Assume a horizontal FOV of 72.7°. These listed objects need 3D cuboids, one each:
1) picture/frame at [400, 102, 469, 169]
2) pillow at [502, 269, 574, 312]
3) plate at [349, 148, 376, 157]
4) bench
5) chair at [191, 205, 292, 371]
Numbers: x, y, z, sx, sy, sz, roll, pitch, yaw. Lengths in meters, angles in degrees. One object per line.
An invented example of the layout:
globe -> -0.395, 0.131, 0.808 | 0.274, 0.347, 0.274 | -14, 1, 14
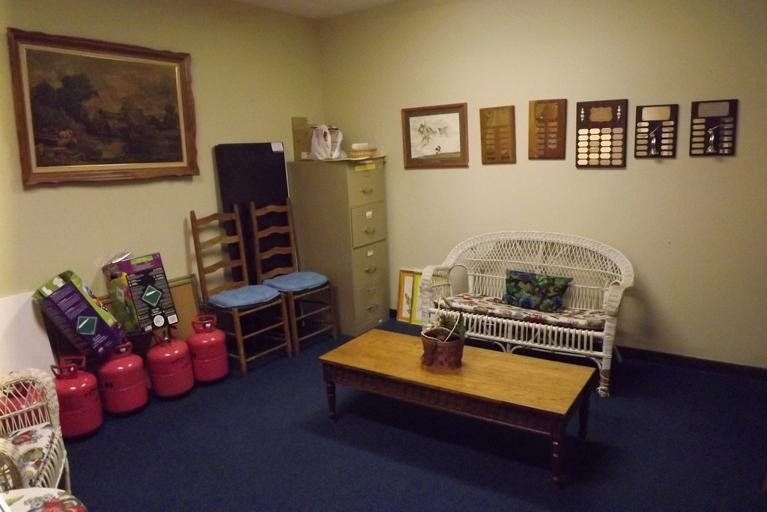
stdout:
picture/frame -> 0.556, -1.247, 5.320 | 0.707, 0.624, 0.056 | 2, 7, 26
pillow -> 1.375, 0.318, 4.723 | 0.579, 0.345, 0.137 | 7, 10, 19
plate -> -0.195, -1.065, 5.388 | 0.346, 0.084, 0.139 | -13, 17, -40
bench -> 1.315, 0.433, 4.741 | 1.731, 1.120, 0.858 | 6, 13, 33
chair -> -1.323, 0.278, 4.928 | 0.834, 1.454, 0.761 | -7, 14, -20
